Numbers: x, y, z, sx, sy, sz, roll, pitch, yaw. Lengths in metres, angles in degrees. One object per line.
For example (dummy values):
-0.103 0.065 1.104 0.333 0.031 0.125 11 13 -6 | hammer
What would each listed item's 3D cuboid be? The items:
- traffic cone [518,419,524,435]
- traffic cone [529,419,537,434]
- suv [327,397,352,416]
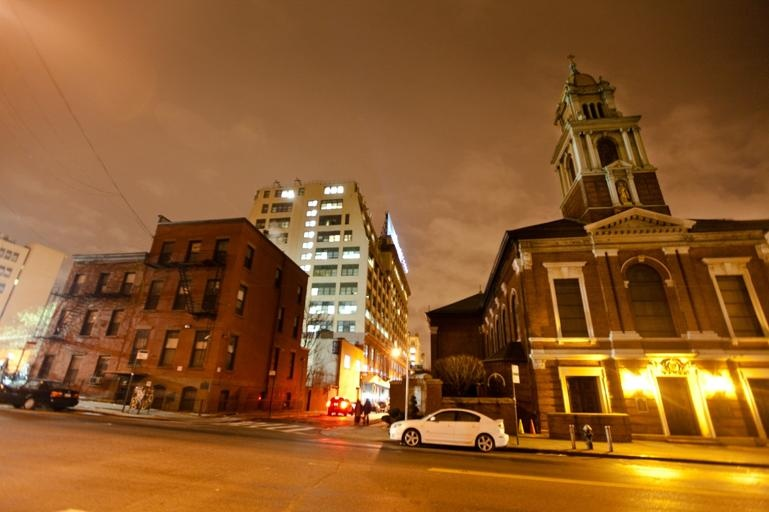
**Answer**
8.962 11.177 28.473 0.348 0.895 0.668 -5 -25 16 | traffic cone
9.743 11.133 28.262 0.614 0.859 0.617 -6 -11 10 | traffic cone
-4.039 13.763 39.575 1.002 1.673 2.858 -14 -28 34 | suv
